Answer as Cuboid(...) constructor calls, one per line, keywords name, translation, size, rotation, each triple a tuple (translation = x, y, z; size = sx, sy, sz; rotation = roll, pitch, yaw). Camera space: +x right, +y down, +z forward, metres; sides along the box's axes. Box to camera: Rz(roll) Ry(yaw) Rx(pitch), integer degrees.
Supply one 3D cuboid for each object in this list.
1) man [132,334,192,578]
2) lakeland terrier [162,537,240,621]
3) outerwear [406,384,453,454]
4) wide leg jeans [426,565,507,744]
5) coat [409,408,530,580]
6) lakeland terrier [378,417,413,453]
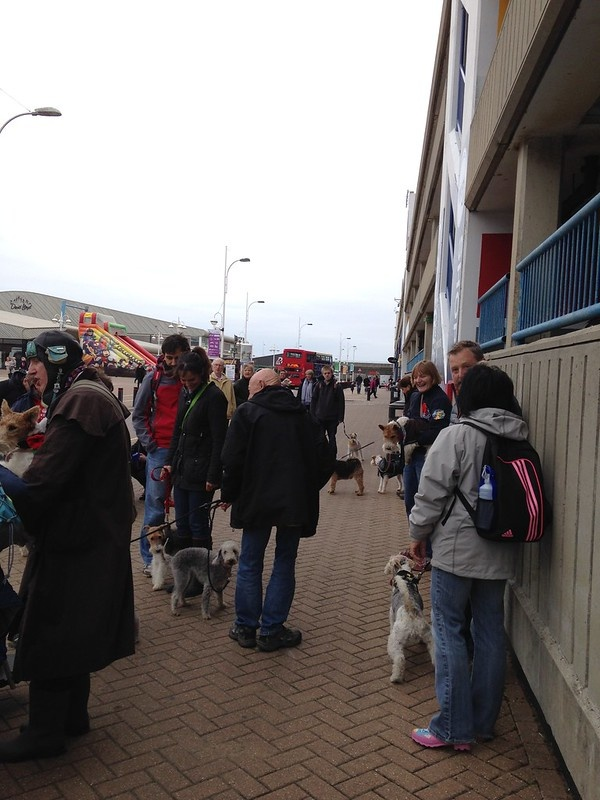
Cuboid(name="man", translation=(-1.275, 0.501, 5.567), size=(0.591, 2.170, 0.471), rotation=(1, 1, -19))
Cuboid(name="lakeland terrier", translation=(-0.706, 1.381, 4.878), size=(0.800, 0.697, 0.380), rotation=(-1, -5, 6))
Cuboid(name="outerwear", translation=(1.143, 0.174, 5.343), size=(0.344, 0.586, 0.604), rotation=(9, 3, -4))
Cuboid(name="wide leg jeans", translation=(0.862, 1.184, 3.044), size=(0.282, 0.281, 1.226), rotation=(6, 40, 9))
Cuboid(name="coat", translation=(0.886, 0.425, 2.925), size=(0.594, 0.783, 0.439), rotation=(4, -1, -21))
Cuboid(name="lakeland terrier", translation=(0.997, 0.349, 6.338), size=(0.188, 0.388, 0.658), rotation=(-4, 11, 23))
